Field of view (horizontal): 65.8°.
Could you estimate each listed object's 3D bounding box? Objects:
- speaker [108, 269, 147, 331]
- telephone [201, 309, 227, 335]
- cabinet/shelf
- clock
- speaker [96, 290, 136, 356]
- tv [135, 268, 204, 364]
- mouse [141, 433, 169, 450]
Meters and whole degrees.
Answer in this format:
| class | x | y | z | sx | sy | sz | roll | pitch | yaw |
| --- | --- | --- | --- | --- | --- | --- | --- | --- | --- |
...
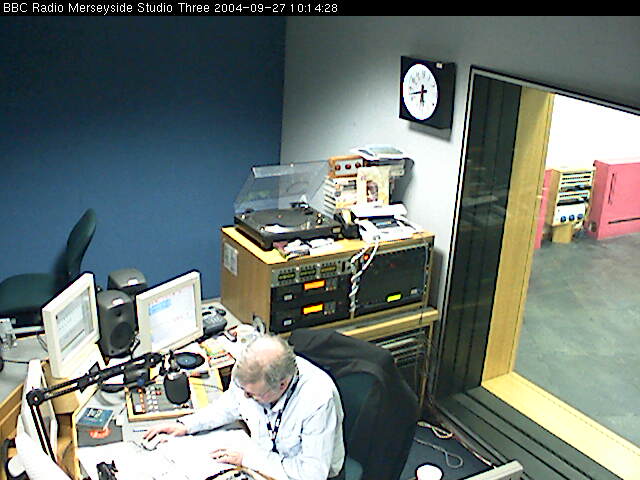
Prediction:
| class | x | y | z | sx | sy | sz | roll | pitch | yaw |
| --- | --- | --- | --- | --- | --- | --- | --- | --- | --- |
| speaker | -1.229 | 0.343 | 3.186 | 0.214 | 0.199 | 0.212 | -13 | 29 | -35 |
| telephone | -0.702 | 0.542 | 3.287 | 0.144 | 0.047 | 0.151 | -1 | 32 | -13 |
| cabinet/shelf | 2.930 | -0.548 | 5.795 | 0.617 | 0.646 | 0.225 | -8 | 34 | -17 |
| clock | 0.769 | -1.038 | 3.441 | 0.146 | 0.450 | 0.450 | -13 | 24 | -32 |
| speaker | -1.202 | 0.495 | 2.888 | 0.199 | 0.358 | 0.180 | 5 | 20 | 14 |
| tv | -0.882 | 0.471 | 2.913 | 0.068 | 0.450 | 0.430 | 15 | 22 | 40 |
| mouse | -0.798 | 0.961 | 2.393 | 0.116 | 0.030 | 0.059 | -18 | 37 | -30 |
